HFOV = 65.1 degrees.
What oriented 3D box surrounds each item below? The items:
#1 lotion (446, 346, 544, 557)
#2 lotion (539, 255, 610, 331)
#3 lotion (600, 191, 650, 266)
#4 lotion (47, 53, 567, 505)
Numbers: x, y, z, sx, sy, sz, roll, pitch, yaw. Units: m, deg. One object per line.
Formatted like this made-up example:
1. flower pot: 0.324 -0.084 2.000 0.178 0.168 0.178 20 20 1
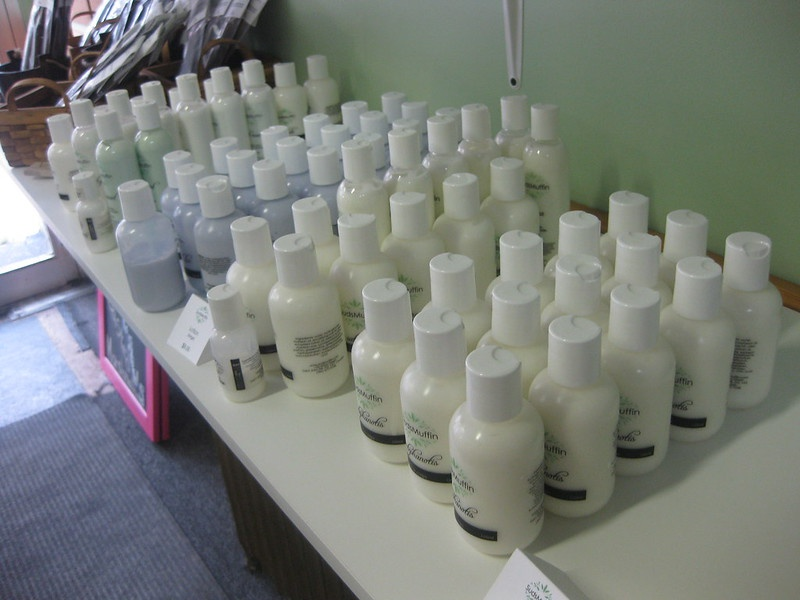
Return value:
1. lotion: 0.094 0.148 0.600 0.091 0.202 0.065 5 29 16
2. lotion: 0.189 -0.009 0.710 0.071 0.087 0.074 0 27 5
3. lotion: 0.279 -0.085 0.768 0.072 0.088 0.076 3 27 19
4. lotion: 0.020 -0.009 0.773 0.357 0.299 0.383 2 29 10
